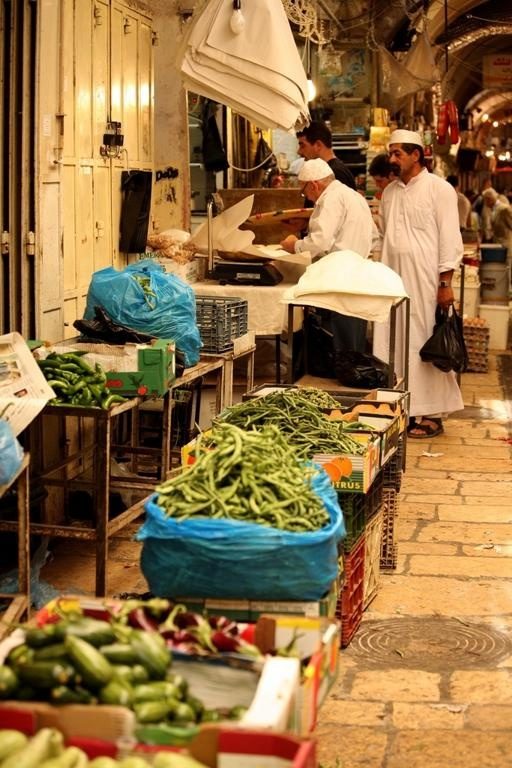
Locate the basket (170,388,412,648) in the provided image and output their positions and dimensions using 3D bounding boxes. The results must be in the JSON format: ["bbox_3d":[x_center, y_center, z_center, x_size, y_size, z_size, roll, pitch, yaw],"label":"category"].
[{"bbox_3d":[0.198,0.617,3.469,1.193,1.259,1.207,3,13,11],"label":"basket"}]

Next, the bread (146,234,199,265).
[{"bbox_3d":[-0.868,-1.482,6.791,0.431,0.164,0.460,10,15,12],"label":"bread"}]

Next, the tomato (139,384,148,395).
[{"bbox_3d":[-0.624,0.028,3.418,0.036,0.048,0.048,14,-38,-38],"label":"tomato"}]

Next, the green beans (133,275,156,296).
[{"bbox_3d":[-0.737,-0.666,4.182,0.129,0.166,0.075,3,-33,-19],"label":"green beans"}]

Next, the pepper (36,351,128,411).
[{"bbox_3d":[-0.968,-0.021,3.311,0.431,0.245,0.304,1,9,0],"label":"pepper"}]

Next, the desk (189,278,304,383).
[{"bbox_3d":[0.071,-0.515,6.355,1.133,1.129,1.034,6,12,22],"label":"desk"}]
